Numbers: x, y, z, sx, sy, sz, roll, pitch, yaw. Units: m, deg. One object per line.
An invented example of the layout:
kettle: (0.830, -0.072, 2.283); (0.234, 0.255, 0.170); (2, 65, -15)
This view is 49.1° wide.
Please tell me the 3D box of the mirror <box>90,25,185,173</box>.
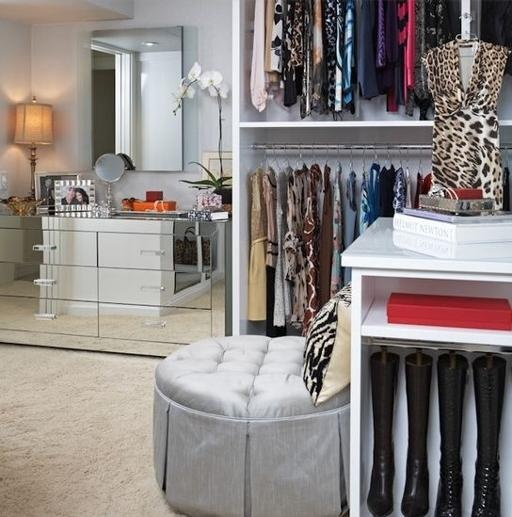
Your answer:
mirror: (-0.736, -1.050, 3.602); (0.703, 1.247, 0.048); (2, 6, 22)

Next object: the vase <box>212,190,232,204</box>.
vase: (-0.203, -0.330, 3.210); (0.083, 0.112, 0.071); (0, 1, -1)

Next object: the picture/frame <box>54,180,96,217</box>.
picture/frame: (-1.079, -0.352, 3.345); (0.150, 0.205, 0.013); (-9, -3, -9)

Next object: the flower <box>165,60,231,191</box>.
flower: (-0.320, -0.815, 3.386); (0.339, 0.799, 0.495); (-1, 6, -14)

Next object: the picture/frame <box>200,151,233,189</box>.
picture/frame: (-0.238, -0.541, 3.427); (0.212, 0.282, 0.011); (2, 6, 7)
